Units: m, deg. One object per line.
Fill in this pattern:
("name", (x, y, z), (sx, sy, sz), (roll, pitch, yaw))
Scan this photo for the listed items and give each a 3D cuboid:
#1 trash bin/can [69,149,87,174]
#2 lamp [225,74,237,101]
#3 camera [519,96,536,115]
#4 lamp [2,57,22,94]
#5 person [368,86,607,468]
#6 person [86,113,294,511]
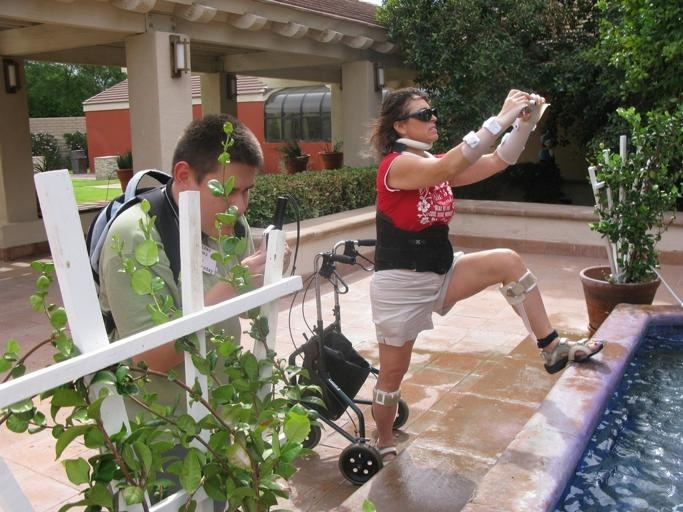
("trash bin/can", (-14.966, -5.346, 28.505), (0.770, 1.302, 0.886), (-9, 14, -33))
("lamp", (-3.070, -4.671, 13.862), (0.262, 0.660, 0.185), (-11, 16, -41))
("camera", (1.062, -0.854, 2.851), (0.083, 0.117, 0.121), (3, 20, 5))
("lamp", (-5.854, -3.201, 8.956), (0.178, 0.597, 0.344), (3, 13, 17))
("person", (0.731, 0.162, 3.064), (1.104, 2.336, 0.719), (-1, 12, 0))
("person", (-0.482, 0.154, 1.623), (0.564, 1.215, 0.838), (-7, 14, -27))
